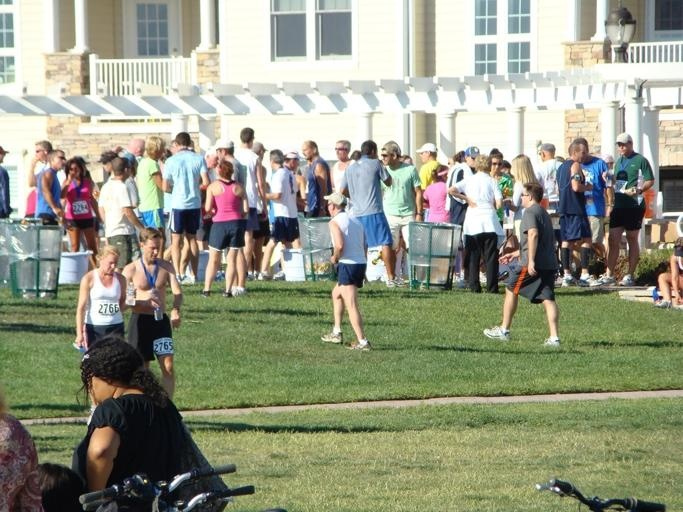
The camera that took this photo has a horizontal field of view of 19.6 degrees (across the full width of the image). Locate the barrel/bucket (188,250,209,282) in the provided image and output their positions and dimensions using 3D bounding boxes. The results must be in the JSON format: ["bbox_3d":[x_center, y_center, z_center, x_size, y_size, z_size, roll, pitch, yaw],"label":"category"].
[{"bbox_3d":[-2.490,0.159,35.890,0.382,0.706,0.409,1,0,0],"label":"barrel/bucket"}]

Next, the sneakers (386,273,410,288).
[{"bbox_3d":[1.040,0.417,35.743,0.390,0.206,0.180,-2,7,-12],"label":"sneakers"}]

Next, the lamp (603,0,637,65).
[{"bbox_3d":[5.307,-4.265,37.718,0.557,1.230,0.900,-2,1,8],"label":"lamp"}]

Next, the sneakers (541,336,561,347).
[{"bbox_3d":[3.364,1.349,31.867,0.114,0.153,0.319,-3,6,-31],"label":"sneakers"}]

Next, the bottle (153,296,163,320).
[{"bbox_3d":[-2.641,0.792,28.901,0.137,0.254,0.075,-2,1,-11],"label":"bottle"}]

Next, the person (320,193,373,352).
[{"bbox_3d":[0.141,0.233,31.438,0.576,2.487,0.688,-2,1,-1],"label":"person"}]

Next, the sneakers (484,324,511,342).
[{"bbox_3d":[2.538,1.241,32.254,0.442,0.238,0.183,8,14,21],"label":"sneakers"}]

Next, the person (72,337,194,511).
[{"bbox_3d":[-2.683,2.193,25.453,1.179,2.189,1.136,-18,31,-40],"label":"person"}]

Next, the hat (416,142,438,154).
[{"bbox_3d":[1.587,-1.975,36.536,0.386,0.226,0.298,3,2,8],"label":"hat"}]

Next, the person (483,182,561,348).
[{"bbox_3d":[2.990,0.136,31.807,0.966,2.613,0.677,-1,1,13],"label":"person"}]

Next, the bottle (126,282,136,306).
[{"bbox_3d":[-3.049,0.543,28.994,0.139,0.340,0.289,-2,1,-6],"label":"bottle"}]

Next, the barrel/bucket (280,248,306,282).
[{"bbox_3d":[-0.845,0.159,36.212,0.459,0.436,0.524,0,-2,-2],"label":"barrel/bucket"}]

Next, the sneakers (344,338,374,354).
[{"bbox_3d":[0.298,1.411,31.567,0.429,0.226,0.173,3,6,19],"label":"sneakers"}]

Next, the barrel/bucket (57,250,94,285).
[{"bbox_3d":[-4.717,0.193,35.613,0.570,0.606,0.539,3,0,0],"label":"barrel/bucket"}]

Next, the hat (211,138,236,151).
[{"bbox_3d":[-2.055,-1.939,34.543,0.349,0.211,0.264,0,4,24],"label":"hat"}]

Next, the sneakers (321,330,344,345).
[{"bbox_3d":[-0.122,1.289,31.837,0.362,0.190,0.143,7,9,40],"label":"sneakers"}]
